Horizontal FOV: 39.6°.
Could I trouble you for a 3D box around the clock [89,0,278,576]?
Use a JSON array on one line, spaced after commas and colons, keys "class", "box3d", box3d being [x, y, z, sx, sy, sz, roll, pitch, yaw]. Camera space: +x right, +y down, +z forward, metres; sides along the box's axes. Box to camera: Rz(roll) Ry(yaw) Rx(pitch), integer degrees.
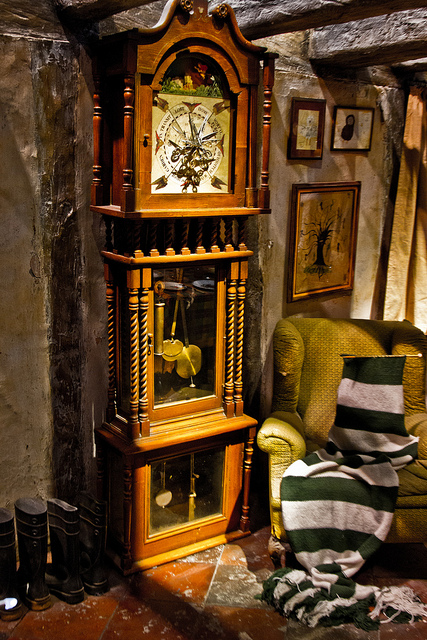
[{"class": "clock", "box3d": [-0.133, -0.062, 2.267, 0.712, 2.083, 0.408, -6, 12, -40]}]
